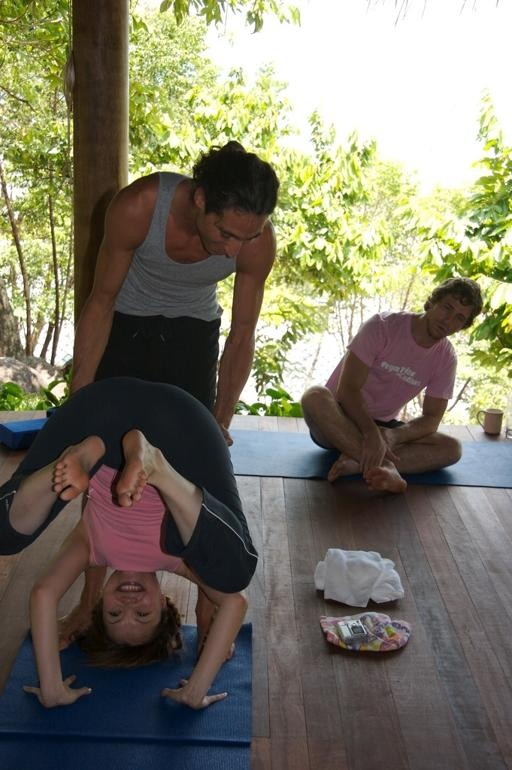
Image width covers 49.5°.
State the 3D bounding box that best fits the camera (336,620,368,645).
[{"bbox_3d":[0.243,0.612,1.390,0.039,0.014,0.038,2,25,-24],"label":"camera"}]

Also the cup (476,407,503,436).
[{"bbox_3d":[1.352,0.206,3.252,0.183,0.162,0.114,-1,13,-1],"label":"cup"}]
